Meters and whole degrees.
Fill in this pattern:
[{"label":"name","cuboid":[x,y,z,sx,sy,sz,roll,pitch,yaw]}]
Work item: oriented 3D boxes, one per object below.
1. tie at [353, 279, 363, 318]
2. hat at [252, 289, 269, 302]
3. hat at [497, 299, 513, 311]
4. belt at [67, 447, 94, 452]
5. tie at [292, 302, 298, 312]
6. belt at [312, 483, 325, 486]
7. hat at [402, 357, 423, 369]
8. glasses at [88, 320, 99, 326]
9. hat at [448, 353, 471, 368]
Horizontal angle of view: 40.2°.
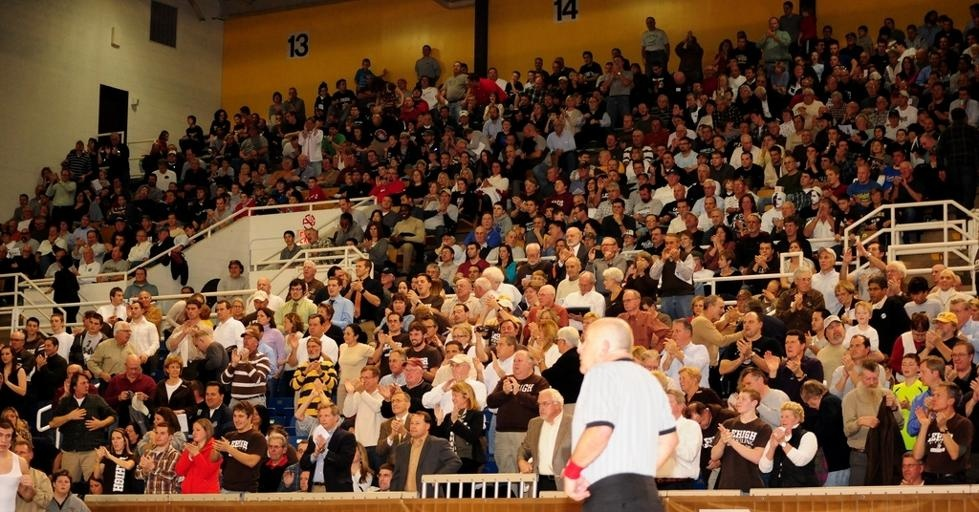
[{"label":"tie","cuboid":[-3.381,1.161,34.847,0.244,0.966,0.297,-1,-8,-4]},{"label":"hat","cuboid":[-5.892,1.074,34.759,0.398,0.341,0.786,0,-8,-11]},{"label":"hat","cuboid":[0.386,1.228,32.861,0.246,0.229,0.315,9,12,27]},{"label":"belt","cuboid":[-9.843,4.720,32.524,0.537,0.080,0.091,0,-8,-13]},{"label":"tie","cuboid":[-5.022,1.340,34.769,0.136,0.238,0.169,-8,-10,38]},{"label":"belt","cuboid":[-3.822,5.160,30.237,0.239,0.068,0.016,-4,-8,16]},{"label":"hat","cuboid":[-1.690,2.531,31.523,0.515,0.216,0.287,3,-9,-33]},{"label":"glasses","cuboid":[-10.162,1.733,34.759,0.262,0.124,0.066,-1,-8,-8]},{"label":"hat","cuboid":[-0.639,2.399,30.965,0.489,0.267,0.562,-2,-8,-2]}]
